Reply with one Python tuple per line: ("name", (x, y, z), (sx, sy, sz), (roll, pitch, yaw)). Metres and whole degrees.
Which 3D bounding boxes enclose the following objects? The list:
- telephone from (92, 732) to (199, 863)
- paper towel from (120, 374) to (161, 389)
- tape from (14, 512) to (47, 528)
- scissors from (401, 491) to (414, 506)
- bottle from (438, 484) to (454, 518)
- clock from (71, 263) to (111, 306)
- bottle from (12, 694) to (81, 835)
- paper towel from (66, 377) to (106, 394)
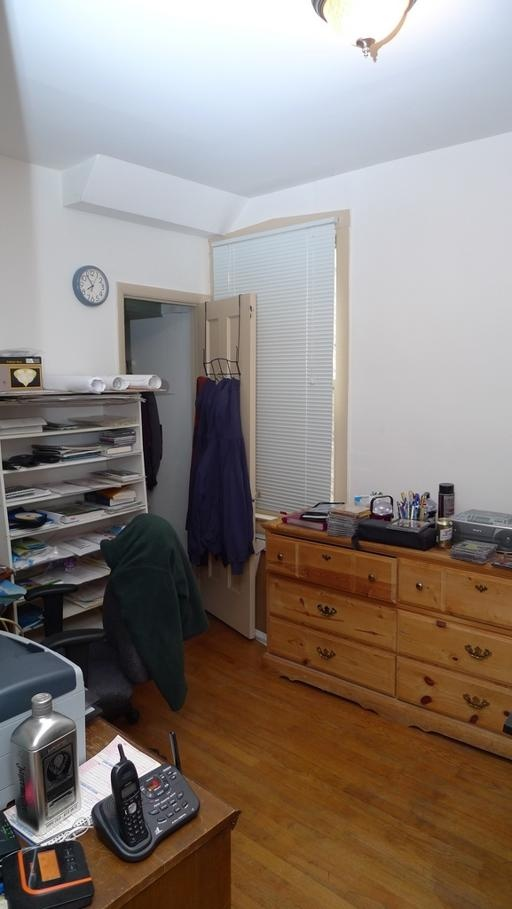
("telephone", (-0.207, 0.601, 1.124), (0.143, 0.197, 0.200), (5, 14, 36))
("paper towel", (-0.591, -0.379, 3.104), (0.153, 0.072, 0.240), (-1, 6, -1))
("tape", (-1.064, 0.307, 2.814), (0.134, 0.057, 0.169), (-2, 7, -16))
("scissors", (0.733, 0.212, 2.918), (0.036, 0.050, 0.171), (4, 7, 10))
("bottle", (0.861, 0.215, 2.714), (0.060, 0.146, 0.134), (1, 6, 15))
("clock", (-0.892, -0.903, 3.217), (0.047, 0.212, 0.244), (3, 7, 28))
("bottle", (-0.390, 0.568, 1.124), (0.074, 0.248, 0.104), (11, 18, 33))
("paper towel", (-0.799, -0.343, 2.792), (0.121, 0.056, 0.082), (9, -9, 24))
